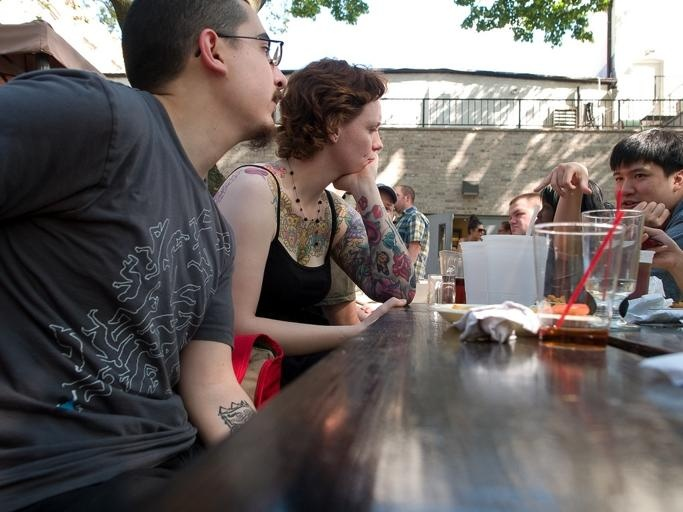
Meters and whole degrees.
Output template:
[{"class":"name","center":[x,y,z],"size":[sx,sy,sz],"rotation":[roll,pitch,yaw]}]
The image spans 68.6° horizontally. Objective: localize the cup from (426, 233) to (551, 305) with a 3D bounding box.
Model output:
[{"class":"cup","center":[0.490,0.060,1.597],"size":[0.188,0.253,0.226],"rotation":[5,-7,-30]}]

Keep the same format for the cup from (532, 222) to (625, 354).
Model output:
[{"class":"cup","center":[0.500,0.042,1.074],"size":[0.170,0.285,0.173],"rotation":[-7,18,2]}]
